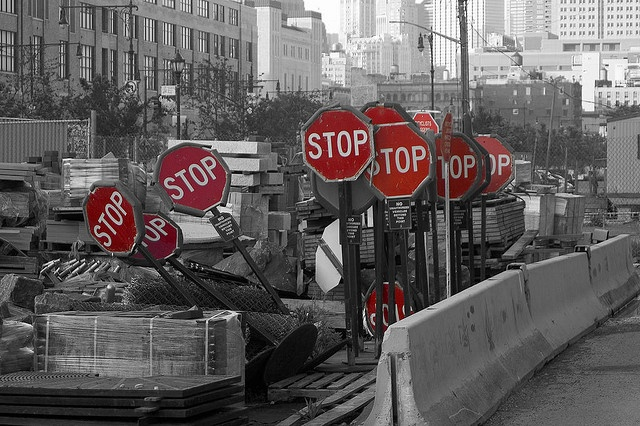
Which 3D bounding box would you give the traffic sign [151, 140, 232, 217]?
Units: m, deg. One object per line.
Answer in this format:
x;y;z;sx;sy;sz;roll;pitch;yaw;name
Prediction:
-1.825;-0.466;14.741;1.170;1.281;0.208;-11;0;-2;traffic sign

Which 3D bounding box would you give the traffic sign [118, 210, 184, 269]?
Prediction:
-2.440;0.543;14.336;1.179;0.273;1.321;24;-24;-4;traffic sign

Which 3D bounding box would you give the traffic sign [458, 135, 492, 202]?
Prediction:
2.532;-0.717;16.017;0.449;1.037;0.769;0;4;20;traffic sign

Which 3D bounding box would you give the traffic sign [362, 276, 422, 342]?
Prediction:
1.116;1.425;15.113;0.904;0.927;1.436;-2;4;-2;traffic sign

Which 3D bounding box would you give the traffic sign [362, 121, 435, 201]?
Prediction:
1.072;-0.701;13.930;0.965;1.150;0.159;-1;2;21;traffic sign

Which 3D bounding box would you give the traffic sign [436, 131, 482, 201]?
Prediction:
2.169;-0.696;15.610;0.923;1.230;0.189;-1;-5;-1;traffic sign

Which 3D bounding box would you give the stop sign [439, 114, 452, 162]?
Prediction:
1.847;-1.078;14.591;0.144;0.687;0.571;-1;4;7;stop sign

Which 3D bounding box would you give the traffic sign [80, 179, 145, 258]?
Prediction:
-2.923;0.129;14.171;1.160;1.290;0.207;8;10;31;traffic sign
